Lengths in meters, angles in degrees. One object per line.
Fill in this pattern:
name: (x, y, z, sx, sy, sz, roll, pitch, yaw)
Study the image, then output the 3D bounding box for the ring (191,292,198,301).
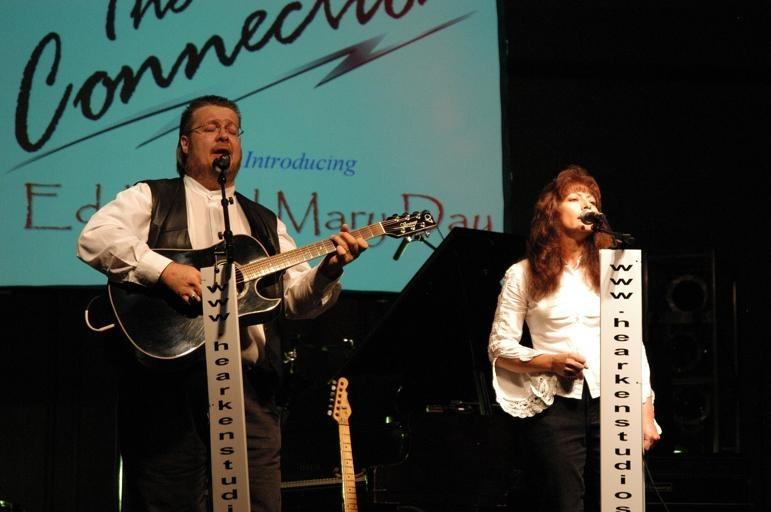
ring: (-1.259, 0.267, 6.390, 0.061, 0.044, 0.023, -1, -7, -3)

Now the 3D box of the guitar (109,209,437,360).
guitar: (-0.732, 0.071, 6.681, 2.240, 0.844, 0.264, -19, -29, -7)

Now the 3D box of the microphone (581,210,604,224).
microphone: (1.431, -0.273, 6.732, 0.109, 0.054, 0.153, 0, 2, -3)
